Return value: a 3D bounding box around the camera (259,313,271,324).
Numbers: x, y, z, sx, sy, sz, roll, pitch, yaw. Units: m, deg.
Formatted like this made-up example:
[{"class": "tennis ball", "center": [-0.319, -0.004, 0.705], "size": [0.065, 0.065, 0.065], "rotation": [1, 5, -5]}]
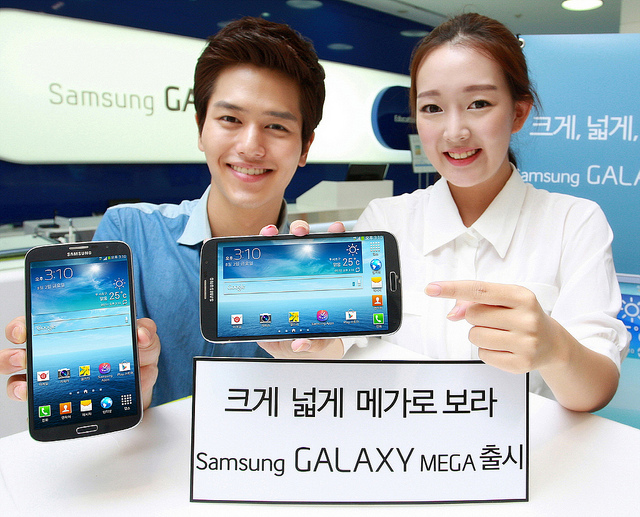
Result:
[{"class": "camera", "center": [-0.101, 0.109, 1.008], "size": [0.025, 0.025, 0.014], "rotation": [0, -4, 2]}]
